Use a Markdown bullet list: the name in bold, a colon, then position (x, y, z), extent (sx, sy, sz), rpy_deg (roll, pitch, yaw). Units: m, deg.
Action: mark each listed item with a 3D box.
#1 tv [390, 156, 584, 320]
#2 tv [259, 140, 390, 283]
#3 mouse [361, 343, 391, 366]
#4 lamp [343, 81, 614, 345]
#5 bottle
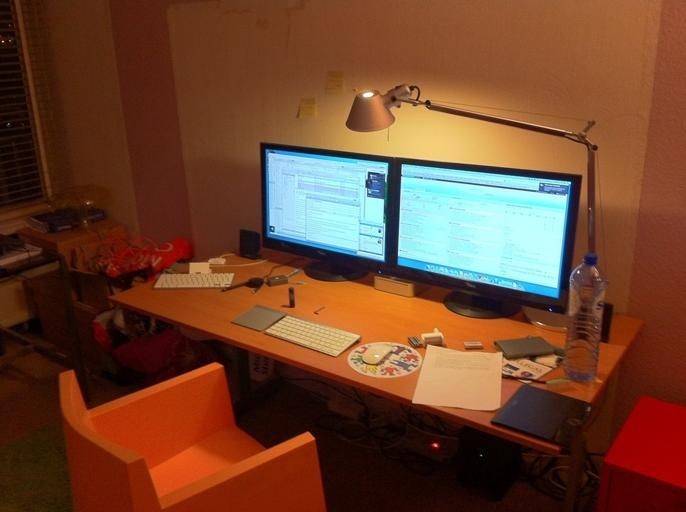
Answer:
- **tv**: position (0.592, -0.080, 2.194), extent (0.602, 0.452, 0.232), rpy_deg (11, 25, 34)
- **tv**: position (-0.067, -0.213, 2.562), extent (0.616, 0.498, 0.260), rpy_deg (9, 16, 28)
- **mouse**: position (0.127, 0.361, 2.044), extent (0.056, 0.021, 0.085), rpy_deg (6, 29, 31)
- **lamp**: position (0.466, -0.238, 2.170), extent (0.946, 0.827, 0.204), rpy_deg (9, 16, 22)
- **bottle**: position (0.833, 0.231, 1.901), extent (0.130, 0.386, 0.140), rpy_deg (3, 16, -1)
